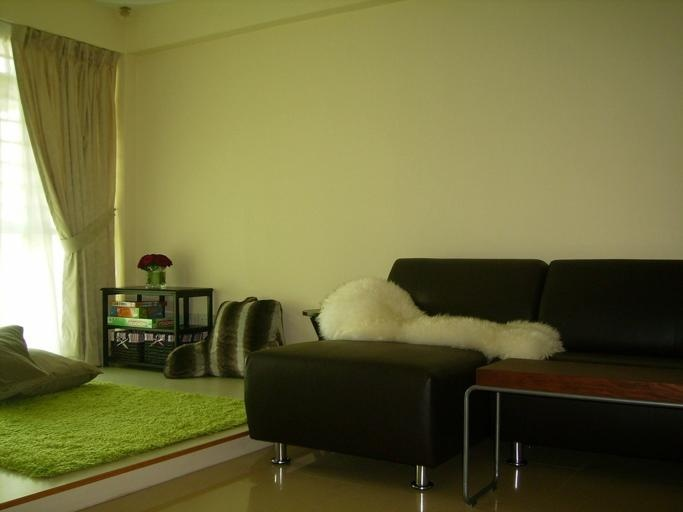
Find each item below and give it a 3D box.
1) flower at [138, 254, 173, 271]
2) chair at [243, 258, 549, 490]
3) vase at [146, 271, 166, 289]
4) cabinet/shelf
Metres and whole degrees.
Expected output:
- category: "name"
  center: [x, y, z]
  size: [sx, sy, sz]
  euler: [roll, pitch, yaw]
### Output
- category: "flower"
  center: [-1.746, 0.069, 4.861]
  size: [0.247, 0.161, 0.228]
  euler: [1, 2, -40]
- category: "chair"
  center: [0.380, 0.536, 2.991]
  size: [1.078, 1.057, 1.419]
  euler: [-2, -5, 34]
- category: "vase"
  center: [-1.718, 0.219, 4.852]
  size: [0.190, 0.181, 0.143]
  euler: [0, -4, 7]
- category: "cabinet/shelf"
  center: [-1.738, 0.672, 4.930]
  size: [0.910, 0.733, 0.527]
  euler: [0, -1, 28]
